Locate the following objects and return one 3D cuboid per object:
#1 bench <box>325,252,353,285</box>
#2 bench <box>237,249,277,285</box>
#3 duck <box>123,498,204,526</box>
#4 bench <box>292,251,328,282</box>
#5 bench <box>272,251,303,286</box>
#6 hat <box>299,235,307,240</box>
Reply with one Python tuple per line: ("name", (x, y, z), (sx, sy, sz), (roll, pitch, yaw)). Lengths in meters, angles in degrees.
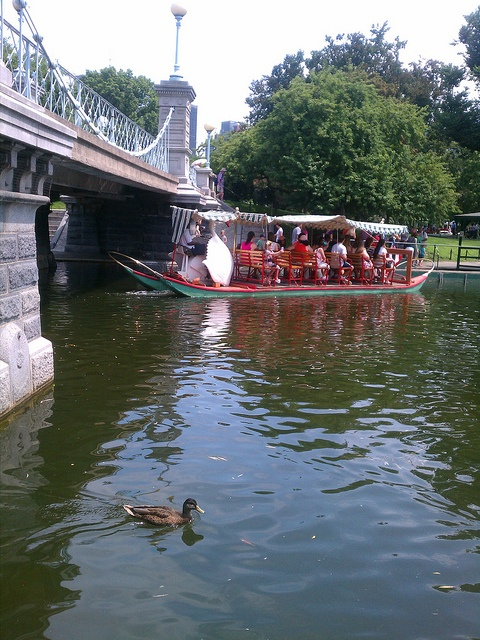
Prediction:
("bench", (3.119, -1.688, 21.833), (0.420, 0.687, 1.036), (-10, 15, -18))
("bench", (0.500, -1.592, 19.991), (0.390, 0.616, 1.148), (-6, 12, -33))
("duck", (-0.506, 1.308, 4.658), (0.519, 0.266, 0.181), (6, -13, 0))
("bench", (2.130, -1.687, 21.028), (0.355, 0.555, 0.962), (-12, 17, -23))
("bench", (1.387, -1.594, 20.507), (0.783, 1.127, 0.902), (-19, 25, -42))
("hat", (1.977, -2.637, 21.733), (0.162, 0.141, 0.159), (-5, 13, -37))
